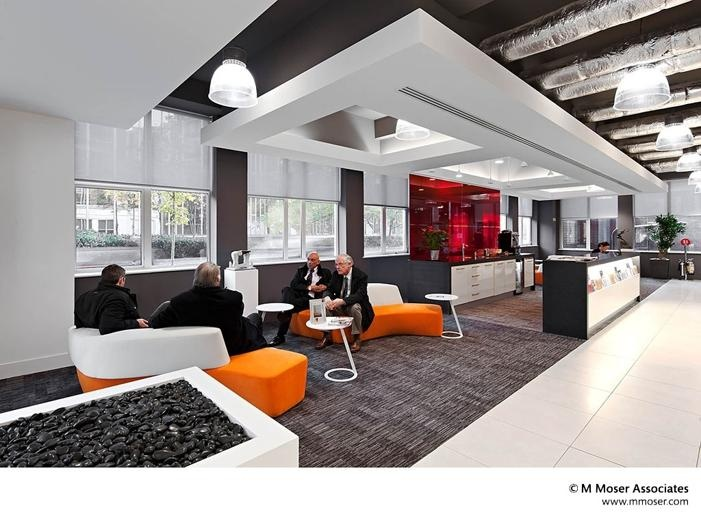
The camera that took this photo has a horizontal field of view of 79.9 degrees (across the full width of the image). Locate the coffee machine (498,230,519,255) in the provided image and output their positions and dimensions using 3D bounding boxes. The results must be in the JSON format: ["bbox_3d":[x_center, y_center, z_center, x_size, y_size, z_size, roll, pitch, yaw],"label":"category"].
[{"bbox_3d":[3.929,-0.325,10.430,0.719,0.556,0.345,-5,8,-34],"label":"coffee machine"}]

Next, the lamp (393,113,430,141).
[{"bbox_3d":[0.776,-1.674,5.462,0.351,0.205,0.504,5,9,39],"label":"lamp"}]

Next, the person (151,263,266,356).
[{"bbox_3d":[-1.438,0.639,4.343,1.225,0.999,0.676,-3,2,-41],"label":"person"}]

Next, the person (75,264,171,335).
[{"bbox_3d":[-2.426,0.446,4.234,0.844,0.671,0.508,1,-1,34],"label":"person"}]

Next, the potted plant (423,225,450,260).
[{"bbox_3d":[1.727,-0.256,8.569,0.617,0.742,0.639,0,-1,21],"label":"potted plant"}]

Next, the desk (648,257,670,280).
[{"bbox_3d":[9.717,0.444,13.307,0.590,0.794,0.669,7,-6,-28],"label":"desk"}]

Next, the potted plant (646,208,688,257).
[{"bbox_3d":[9.839,-0.691,12.535,1.199,1.562,1.234,2,3,11],"label":"potted plant"}]

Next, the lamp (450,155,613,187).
[{"bbox_3d":[3.534,-2.015,9.822,2.309,0.595,0.930,-3,7,-21],"label":"lamp"}]

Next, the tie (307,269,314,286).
[{"bbox_3d":[-0.610,0.349,6.516,0.095,0.175,0.113,3,22,20],"label":"tie"}]

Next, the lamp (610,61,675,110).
[{"bbox_3d":[2.597,-1.467,3.821,0.476,0.330,0.475,-1,1,12],"label":"lamp"}]

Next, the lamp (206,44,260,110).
[{"bbox_3d":[-1.101,-1.686,3.891,0.401,0.521,0.372,-3,7,-19],"label":"lamp"}]
